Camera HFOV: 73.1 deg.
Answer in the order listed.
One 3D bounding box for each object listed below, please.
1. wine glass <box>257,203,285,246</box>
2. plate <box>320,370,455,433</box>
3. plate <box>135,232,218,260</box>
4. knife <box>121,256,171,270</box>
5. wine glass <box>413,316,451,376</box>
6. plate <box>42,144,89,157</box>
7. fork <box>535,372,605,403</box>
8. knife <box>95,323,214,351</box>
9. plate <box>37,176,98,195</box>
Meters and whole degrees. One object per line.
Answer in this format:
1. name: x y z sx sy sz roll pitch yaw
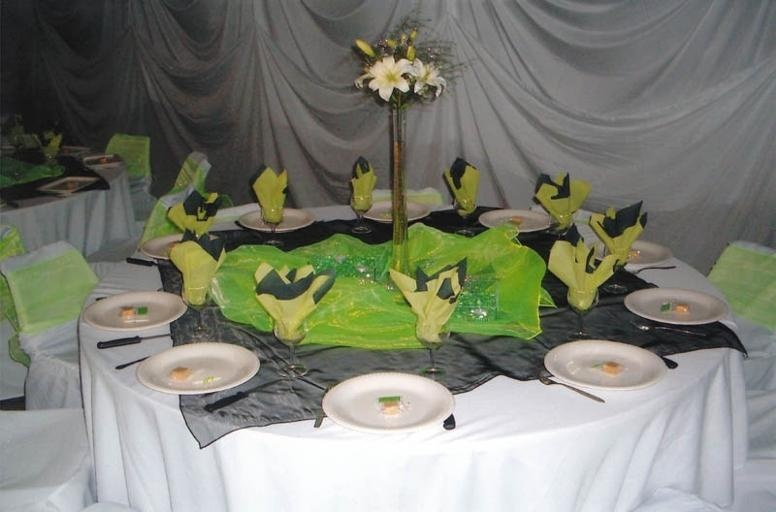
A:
1. wine glass: -0.711 -0.161 3.013 0.194 0.290 0.182 -2 7 -32
2. plate: 0.014 0.486 1.739 0.224 0.026 0.223 4 15 23
3. plate: -1.259 -0.058 2.895 0.308 0.043 0.305 0 23 -6
4. knife: -1.292 0.035 2.797 0.246 0.035 0.050 5 20 5
5. wine glass: 0.168 0.344 1.927 0.172 0.270 0.168 -1 -4 2
6. plate: -3.454 -1.125 5.562 0.413 0.099 0.417 3 10 0
7. fork: 0.638 0.461 1.822 0.166 0.023 0.028 21 68 14
8. knife: -0.955 0.329 2.114 0.319 0.027 0.061 -5 40 -24
9. plate: -2.730 -0.596 4.412 0.300 0.042 0.207 -3 29 1
